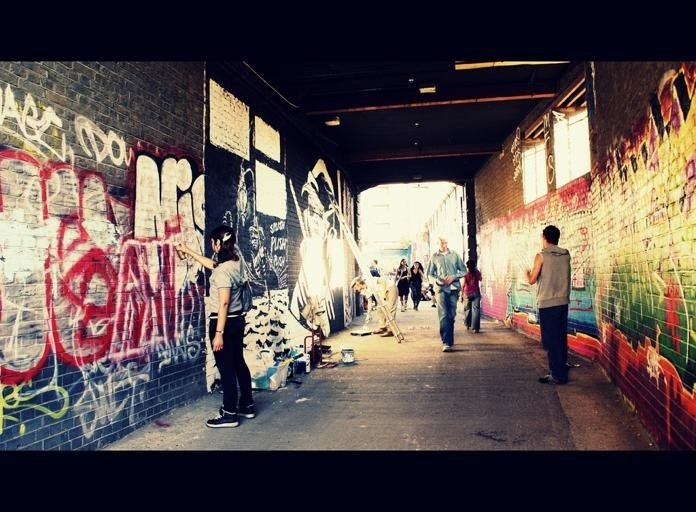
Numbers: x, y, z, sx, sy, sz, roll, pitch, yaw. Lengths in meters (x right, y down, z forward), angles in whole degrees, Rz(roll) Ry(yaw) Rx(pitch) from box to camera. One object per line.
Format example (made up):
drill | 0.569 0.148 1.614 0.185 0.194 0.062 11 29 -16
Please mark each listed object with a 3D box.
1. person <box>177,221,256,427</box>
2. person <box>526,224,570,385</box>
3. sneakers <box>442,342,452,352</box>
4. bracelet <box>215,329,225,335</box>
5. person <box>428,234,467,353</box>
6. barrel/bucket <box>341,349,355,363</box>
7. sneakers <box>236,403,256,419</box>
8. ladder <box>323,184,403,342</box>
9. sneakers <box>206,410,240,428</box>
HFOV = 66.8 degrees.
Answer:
person | -1.360 0.806 6.013 0.437 2.247 0.623 1 6 15
person | 2.741 0.812 7.273 0.546 1.875 0.377 1 6 15
sneakers | 1.847 1.680 9.820 0.189 0.200 0.292 0 6 12
bracelet | -1.405 0.852 5.857 0.101 0.052 0.064 -5 7 -35
person | 1.848 0.742 10.053 0.673 2.125 0.697 -5 7 -34
barrel/bucket | 0.010 1.730 9.076 0.221 0.224 0.275 -1 6 1
sneakers | -1.173 1.835 6.220 0.097 0.126 0.269 2 -2 -22
ladder | 0.162 -0.179 12.813 0.364 4.867 1.144 -27 -12 38
sneakers | -1.358 1.825 5.903 0.355 0.252 0.161 4 -7 -2
